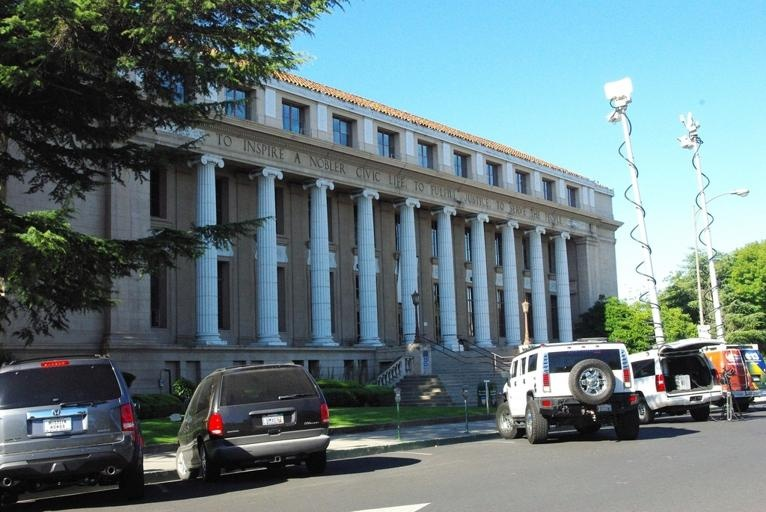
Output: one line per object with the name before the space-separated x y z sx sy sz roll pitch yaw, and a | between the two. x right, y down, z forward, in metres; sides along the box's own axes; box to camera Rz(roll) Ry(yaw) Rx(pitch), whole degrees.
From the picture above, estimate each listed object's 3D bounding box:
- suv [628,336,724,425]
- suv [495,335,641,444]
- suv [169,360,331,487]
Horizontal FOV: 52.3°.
suv | 10.277 4.608 28.372 2.377 2.449 5.490 -6 -10 2
suv | 5.048 3.864 22.780 2.765 1.956 4.018 2 -8 -12
suv | -2.842 3.633 17.257 2.350 1.543 3.648 3 -9 -23
